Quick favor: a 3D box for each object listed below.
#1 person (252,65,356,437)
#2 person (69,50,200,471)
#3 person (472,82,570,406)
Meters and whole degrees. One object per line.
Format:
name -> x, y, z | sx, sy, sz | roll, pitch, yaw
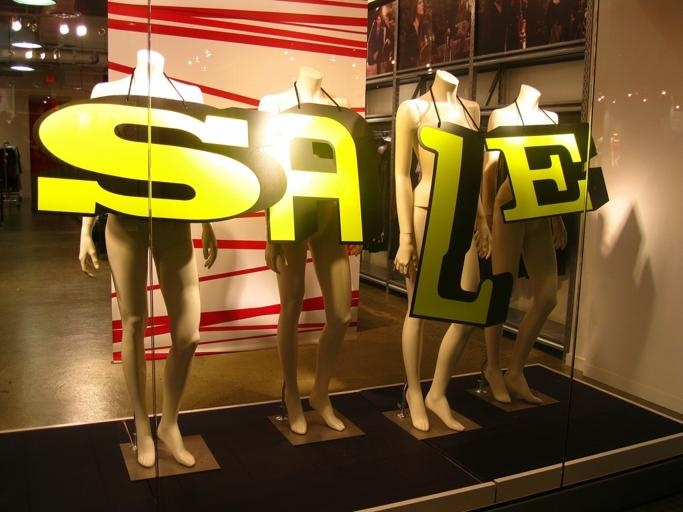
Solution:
person -> -0.138, 0.280, 2.410 | 0.363, 0.997, 0.176 | 0, 10, -3
person -> -0.697, 0.045, 2.017 | 0.473, 1.521, 0.159 | -3, 11, -19
person -> 0.806, -0.031, 2.484 | 0.386, 1.427, 0.106 | -1, 10, -6
